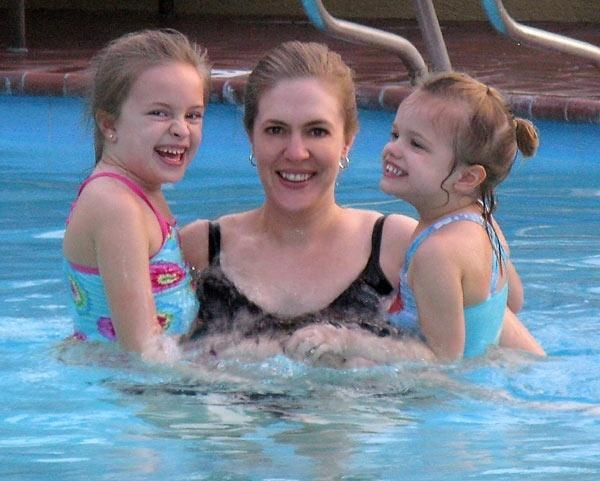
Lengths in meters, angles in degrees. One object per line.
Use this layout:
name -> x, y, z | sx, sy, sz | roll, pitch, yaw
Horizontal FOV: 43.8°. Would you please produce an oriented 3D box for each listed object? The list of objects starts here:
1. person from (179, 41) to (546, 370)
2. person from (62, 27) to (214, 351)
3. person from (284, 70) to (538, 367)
person -> -0.057, -0.131, 2.805 | 1.527, 1.149, 0.880 | 5, 15, -3
person -> -0.589, -0.147, 2.638 | 0.510, 1.106, 0.728 | 0, 25, -3
person -> 0.430, -0.073, 2.629 | 0.613, 0.950, 0.746 | 13, 27, 24
